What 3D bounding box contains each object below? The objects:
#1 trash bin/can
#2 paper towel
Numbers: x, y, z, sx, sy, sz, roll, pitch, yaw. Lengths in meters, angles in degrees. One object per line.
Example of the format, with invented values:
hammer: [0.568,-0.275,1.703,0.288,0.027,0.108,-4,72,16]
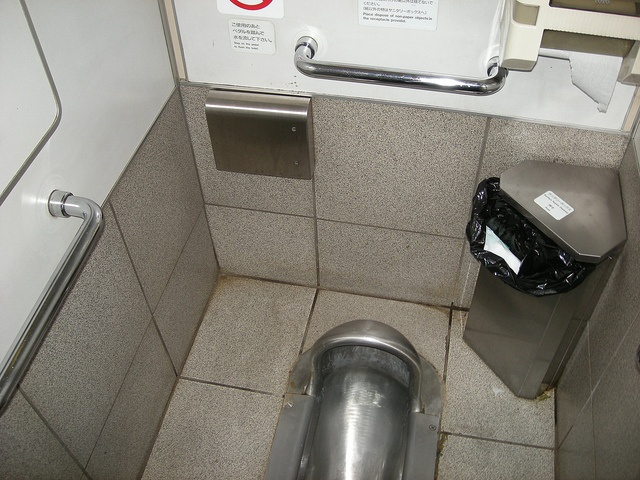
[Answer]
trash bin/can: [0.884,0.230,2.035,0.507,1.082,0.556,7,11,18]
paper towel: [0.890,-0.543,1.674,0.225,0.270,0.069,15,44,22]
